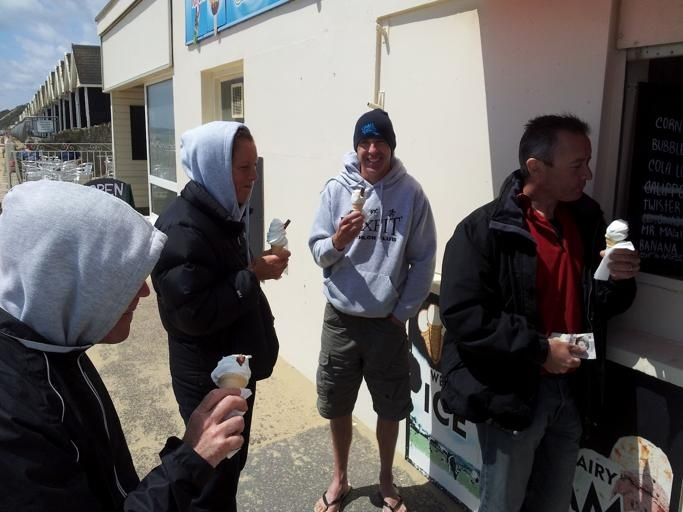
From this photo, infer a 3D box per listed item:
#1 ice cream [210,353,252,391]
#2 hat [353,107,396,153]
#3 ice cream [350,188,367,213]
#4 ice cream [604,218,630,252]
[{"bbox_3d":[-0.469,0.507,2.112,0.150,0.164,0.186,6,-27,-19],"label":"ice cream"},{"bbox_3d":[0.278,-0.816,3.230,0.285,0.272,0.264,-3,5,-27],"label":"hat"},{"bbox_3d":[0.105,-0.341,3.104,0.089,0.155,0.257,0,15,2],"label":"ice cream"},{"bbox_3d":[1.335,-0.101,2.427,0.085,0.134,0.138,8,16,28],"label":"ice cream"}]
